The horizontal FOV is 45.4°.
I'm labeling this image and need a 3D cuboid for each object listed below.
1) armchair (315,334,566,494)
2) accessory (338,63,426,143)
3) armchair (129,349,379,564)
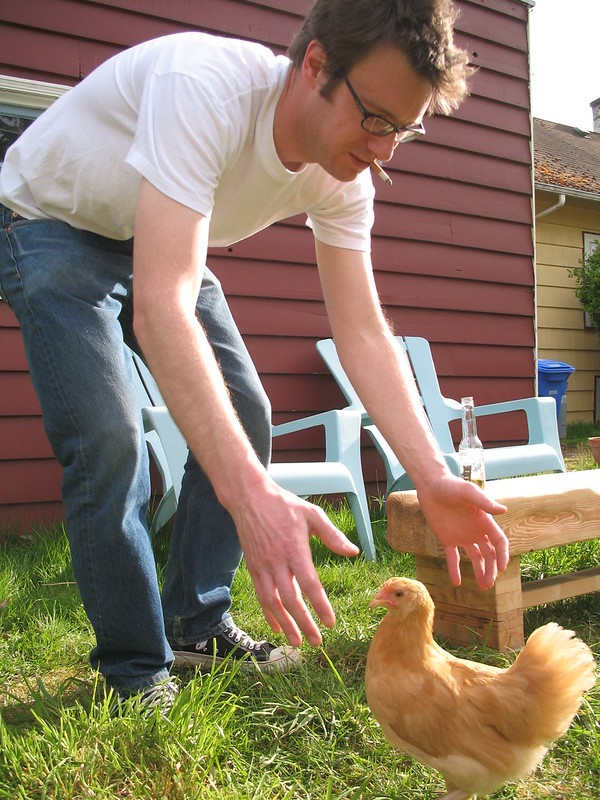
[{"bbox_3d":[0.633,0.057,3.763,1.206,0.888,0.875,1,8,42],"label":"armchair"},{"bbox_3d":[0.153,-0.568,1.384,0.037,0.117,0.126,-33,-14,31],"label":"accessory"},{"bbox_3d":[-0.277,0.235,2.971,0.995,0.760,0.822,1,4,29],"label":"armchair"}]
